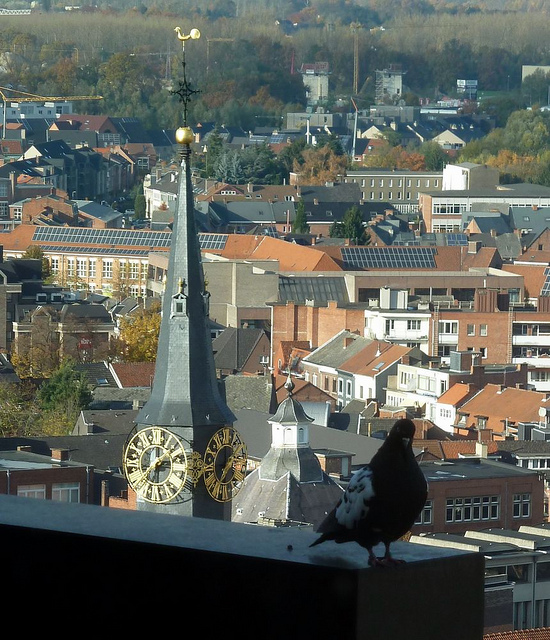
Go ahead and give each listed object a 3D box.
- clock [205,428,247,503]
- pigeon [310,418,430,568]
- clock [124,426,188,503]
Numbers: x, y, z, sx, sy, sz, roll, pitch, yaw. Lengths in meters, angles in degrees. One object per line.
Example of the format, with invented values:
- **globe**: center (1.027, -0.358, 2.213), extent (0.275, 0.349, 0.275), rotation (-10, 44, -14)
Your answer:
- **clock**: center (-0.423, 1.222, 18.686), extent (0.036, 0.636, 0.535), rotation (2, 2, 42)
- **pigeon**: center (0.301, 0.489, 5.936), extent (0.306, 0.428, 0.208), rotation (-1, 2, -17)
- **clock**: center (-1.010, 1.237, 18.703), extent (0.587, 0.619, 0.389), rotation (1, 4, 14)
